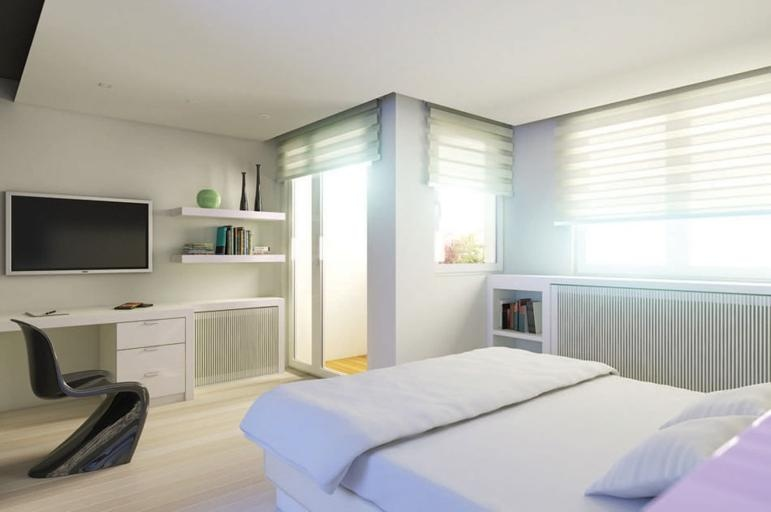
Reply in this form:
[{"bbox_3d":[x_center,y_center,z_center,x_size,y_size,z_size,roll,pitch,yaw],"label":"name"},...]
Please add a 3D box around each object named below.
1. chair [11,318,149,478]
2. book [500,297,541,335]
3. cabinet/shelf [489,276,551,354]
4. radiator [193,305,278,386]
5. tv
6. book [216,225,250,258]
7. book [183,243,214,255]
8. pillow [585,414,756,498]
[{"bbox_3d":[-2.296,1.010,3.980,1.129,1.398,0.947,0,1,-42],"label":"chair"},{"bbox_3d":[1.343,0.607,4.849,0.437,0.389,0.297,1,0,1],"label":"book"},{"bbox_3d":[1.323,0.569,4.781,0.808,0.895,0.278,-2,-3,39],"label":"cabinet/shelf"},{"bbox_3d":[-1.603,0.935,5.076,0.886,0.618,0.071,2,-2,-40],"label":"radiator"},{"bbox_3d":[-2.936,-0.215,4.584,0.898,0.544,0.031,0,-2,-39],"label":"tv"},{"bbox_3d":[-1.606,-0.138,5.257,0.410,0.375,0.303,-4,-5,43],"label":"book"},{"bbox_3d":[-1.969,-0.078,5.142,0.306,0.109,0.295,-5,9,-30],"label":"book"},{"bbox_3d":[1.224,0.868,2.069,0.659,0.325,0.271,-3,9,-21],"label":"pillow"}]
